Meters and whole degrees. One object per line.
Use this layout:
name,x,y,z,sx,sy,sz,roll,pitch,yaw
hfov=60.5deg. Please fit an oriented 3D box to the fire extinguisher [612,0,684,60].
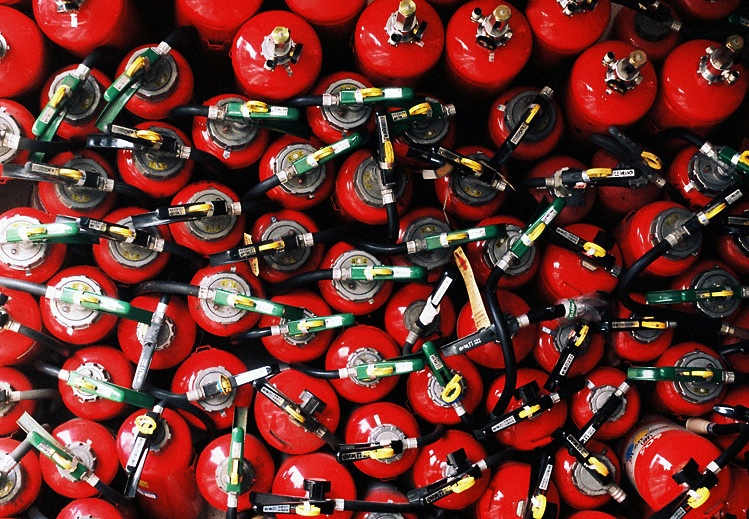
fire extinguisher,2.369,-1.941,5.707,0.522,0.567,0.883,-2,9,6
